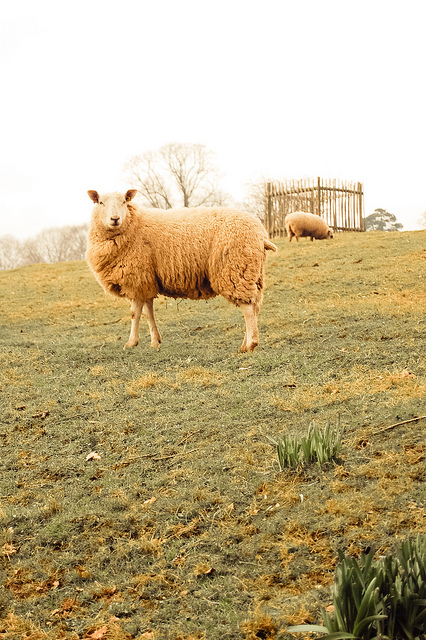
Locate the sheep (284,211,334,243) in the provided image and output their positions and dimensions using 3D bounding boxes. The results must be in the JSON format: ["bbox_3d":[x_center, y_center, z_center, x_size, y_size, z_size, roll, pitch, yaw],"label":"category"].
[{"bbox_3d":[2.497,-2.522,19.753,1.404,0.813,0.636,-14,11,-38],"label":"sheep"}]

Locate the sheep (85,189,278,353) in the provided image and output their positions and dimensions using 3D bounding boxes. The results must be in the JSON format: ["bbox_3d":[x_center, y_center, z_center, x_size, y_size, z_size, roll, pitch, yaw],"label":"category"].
[{"bbox_3d":[-0.364,-0.573,8.495,2.400,1.865,0.973,0,-4,18],"label":"sheep"}]
